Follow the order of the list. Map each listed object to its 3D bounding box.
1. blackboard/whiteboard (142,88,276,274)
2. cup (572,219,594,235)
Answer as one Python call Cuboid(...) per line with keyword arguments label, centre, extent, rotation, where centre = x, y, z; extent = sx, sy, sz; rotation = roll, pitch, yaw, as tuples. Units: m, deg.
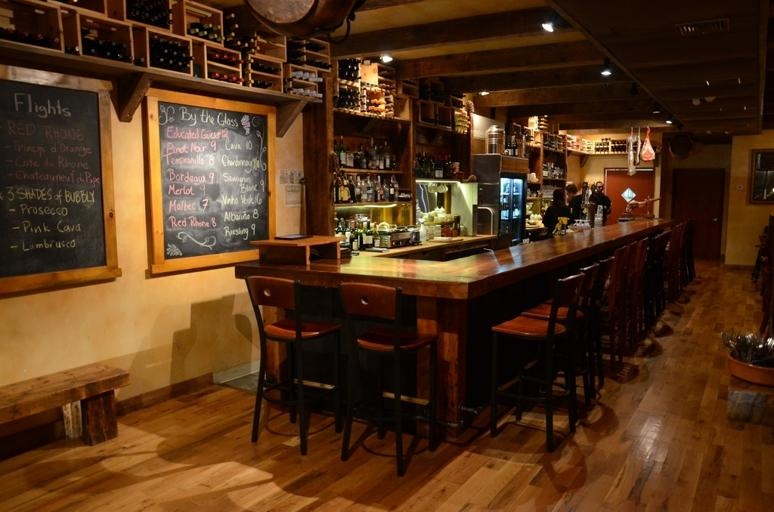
Cuboid(label="blackboard/whiteboard", centre=(-1.770, -0.731, 5.383), extent=(0.143, 2.086, 1.886), rotation=(5, 7, 40))
Cuboid(label="cup", centre=(2.909, -0.428, 8.266), extent=(0.332, 0.292, 0.336), rotation=(0, 6, 0))
